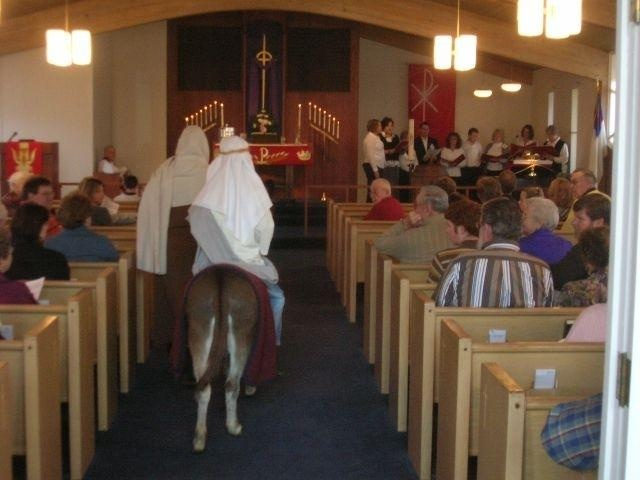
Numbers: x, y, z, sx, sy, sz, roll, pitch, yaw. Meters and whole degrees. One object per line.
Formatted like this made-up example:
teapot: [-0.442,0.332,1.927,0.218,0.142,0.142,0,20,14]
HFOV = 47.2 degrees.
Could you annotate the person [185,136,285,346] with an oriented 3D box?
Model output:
person: [-0.591,-0.043,5.027,0.529,1.363,0.525,0,14,-16]

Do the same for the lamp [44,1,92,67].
lamp: [-3.512,-2.901,10.122,0.514,1.011,2.268,-3,12,-20]

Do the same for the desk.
desk: [-0.796,-0.935,12.778,0.657,1.269,1.321,-17,-6,39]

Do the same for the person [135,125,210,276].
person: [-1.107,-0.277,5.587,0.476,1.155,0.364,6,5,10]
